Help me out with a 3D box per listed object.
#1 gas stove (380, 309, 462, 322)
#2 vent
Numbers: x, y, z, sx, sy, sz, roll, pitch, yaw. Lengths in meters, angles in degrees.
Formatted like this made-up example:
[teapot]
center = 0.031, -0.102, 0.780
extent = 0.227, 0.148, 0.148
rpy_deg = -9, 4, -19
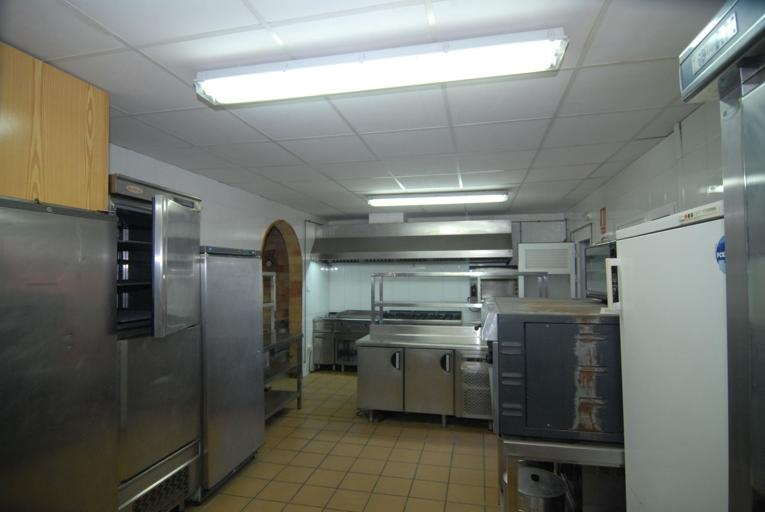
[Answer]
[gas stove]
center = 0.577, 0.873, 7.499
extent = 1.148, 0.088, 0.506
rpy_deg = 1, 5, 6
[vent]
center = 0.377, -0.233, 7.062
extent = 2.849, 0.631, 0.509
rpy_deg = -1, 10, 18
